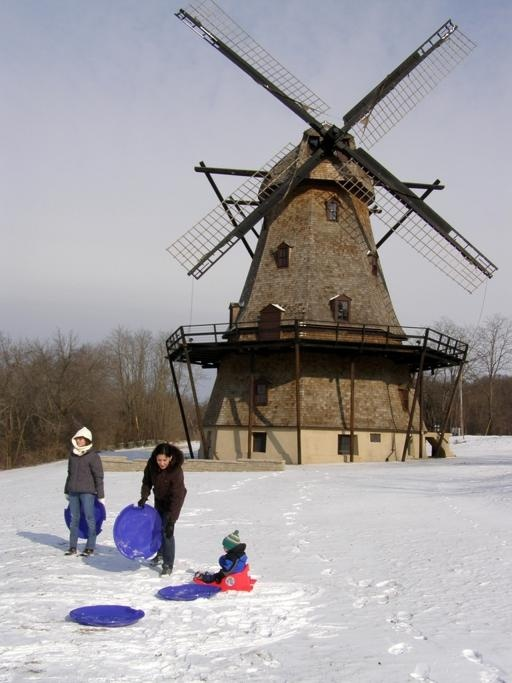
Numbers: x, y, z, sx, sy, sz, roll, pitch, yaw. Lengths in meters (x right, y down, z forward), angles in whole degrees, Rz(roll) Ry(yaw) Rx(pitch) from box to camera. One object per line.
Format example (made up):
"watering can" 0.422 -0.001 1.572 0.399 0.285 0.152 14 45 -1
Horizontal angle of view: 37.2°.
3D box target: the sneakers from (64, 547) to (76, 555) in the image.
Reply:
"sneakers" -2.440 2.736 9.932 0.170 0.106 0.062 5 -8 30

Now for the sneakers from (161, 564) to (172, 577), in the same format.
"sneakers" -1.061 2.733 9.072 0.144 0.129 0.083 1 -2 -24

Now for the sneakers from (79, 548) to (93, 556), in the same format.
"sneakers" -2.203 2.747 9.898 0.146 0.127 0.071 16 -34 -16

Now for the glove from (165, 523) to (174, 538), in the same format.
"glove" -1.028 2.259 9.121 0.050 0.168 0.126 0 -1 -3

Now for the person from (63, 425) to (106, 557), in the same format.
"person" -2.286 1.989 10.186 0.499 1.655 0.716 3 -3 -13

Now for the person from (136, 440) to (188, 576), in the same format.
"person" -1.154 2.008 9.270 0.492 1.551 0.589 4 -4 -31
